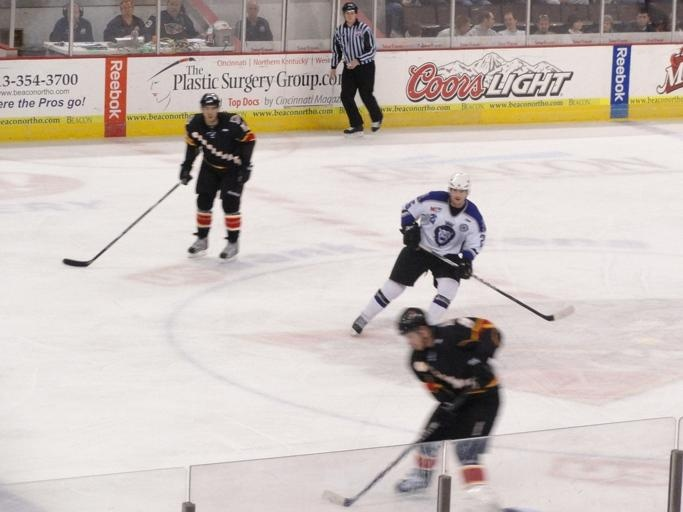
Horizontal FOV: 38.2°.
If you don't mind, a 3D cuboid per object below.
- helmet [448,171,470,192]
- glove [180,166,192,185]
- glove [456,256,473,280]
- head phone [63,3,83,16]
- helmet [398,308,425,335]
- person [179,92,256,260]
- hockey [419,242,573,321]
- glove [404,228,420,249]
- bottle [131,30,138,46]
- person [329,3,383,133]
[{"bbox_3d":[0.793,-0.480,6.703,0.167,0.164,0.147,3,54,6],"label":"helmet"},{"bbox_3d":[-1.303,-0.666,8.172,0.116,0.145,0.147,5,44,-12],"label":"glove"},{"bbox_3d":[0.840,0.087,6.752,0.128,0.129,0.050,8,-31,-27],"label":"glove"},{"bbox_3d":[-3.104,-2.850,11.350,0.197,0.121,0.061,-2,39,-15],"label":"head phone"},{"bbox_3d":[0.349,0.338,5.019,0.138,0.128,0.153,-7,-13,11],"label":"helmet"},{"bbox_3d":[-1.031,-0.651,8.094,0.651,1.348,0.412,4,12,13],"label":"person"},{"bbox_3d":[1.128,0.214,7.326,1.138,0.041,0.212,24,41,4],"label":"hockey"},{"bbox_3d":[0.487,-0.136,6.786,0.176,0.121,0.118,1,0,6],"label":"glove"},{"bbox_3d":[-2.482,-2.627,11.814,0.052,0.142,0.131,-4,2,29],"label":"bottle"},{"bbox_3d":[0.186,-2.349,12.411,0.666,1.603,0.324,1,12,-1],"label":"person"}]
